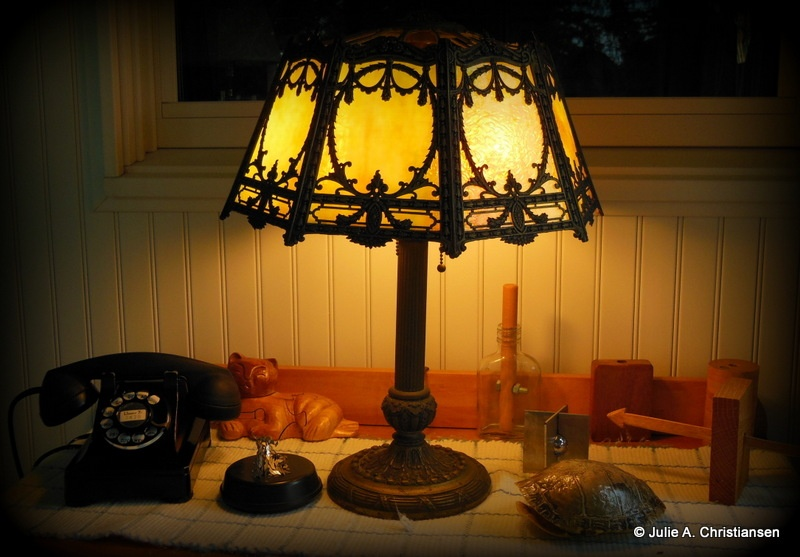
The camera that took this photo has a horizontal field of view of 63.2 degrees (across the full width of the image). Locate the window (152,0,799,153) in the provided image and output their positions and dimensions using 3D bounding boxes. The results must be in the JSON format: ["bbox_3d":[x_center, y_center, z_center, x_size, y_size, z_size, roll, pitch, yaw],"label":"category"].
[{"bbox_3d":[0.255,-0.468,1.468,0.894,0.307,0.021,0,28,0],"label":"window"}]

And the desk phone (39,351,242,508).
[{"bbox_3d":[-0.564,0.286,1.488,0.376,0.222,0.316,0,4,-4],"label":"desk phone"}]

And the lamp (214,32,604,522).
[{"bbox_3d":[0.025,0.001,1.514,0.843,0.981,0.862,2,6,-25],"label":"lamp"}]
